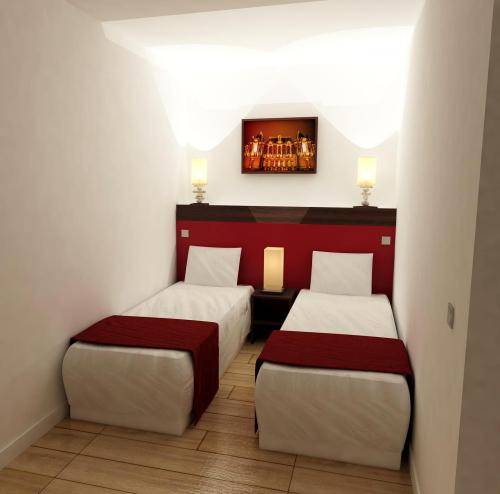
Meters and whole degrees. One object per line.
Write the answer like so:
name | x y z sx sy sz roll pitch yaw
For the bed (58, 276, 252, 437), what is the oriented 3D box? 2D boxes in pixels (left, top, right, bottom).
bed | -0.520 0.535 3.539 0.894 0.523 1.917 14 13 9

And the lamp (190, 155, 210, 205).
lamp | -0.539 -0.708 4.586 0.176 0.472 0.386 -1 9 -7

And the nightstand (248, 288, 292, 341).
nightstand | 0.204 0.610 4.143 0.412 0.620 0.408 0 0 11

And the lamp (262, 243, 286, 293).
lamp | 0.222 0.222 4.006 0.244 0.700 0.329 1 6 6

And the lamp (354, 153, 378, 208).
lamp | 1.038 -0.645 4.036 0.169 0.396 0.173 0 13 -12

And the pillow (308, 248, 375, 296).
pillow | 0.845 0.264 3.993 0.470 0.429 0.129 0 -10 18
